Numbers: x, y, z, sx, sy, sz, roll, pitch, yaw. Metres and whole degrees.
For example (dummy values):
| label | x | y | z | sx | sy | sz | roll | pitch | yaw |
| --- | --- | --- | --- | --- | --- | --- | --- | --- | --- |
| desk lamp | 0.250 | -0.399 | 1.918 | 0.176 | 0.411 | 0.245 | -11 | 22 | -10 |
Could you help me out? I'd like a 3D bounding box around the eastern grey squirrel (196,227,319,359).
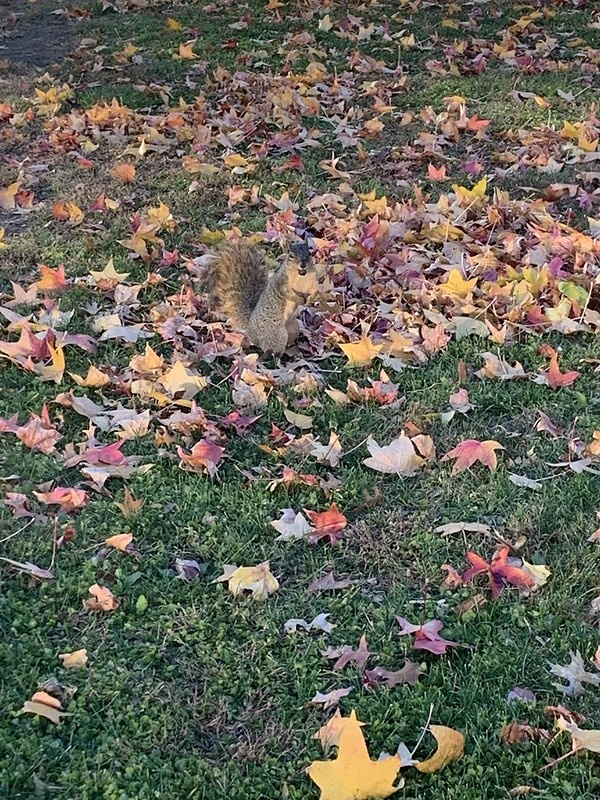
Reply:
| label | x | y | z | sx | sy | sz | roll | pitch | yaw |
| --- | --- | --- | --- | --- | --- | --- | --- | --- | --- |
| eastern grey squirrel | -0.063 | -0.477 | 4.265 | 0.299 | 0.587 | 0.863 | -12 | 5 | -13 |
